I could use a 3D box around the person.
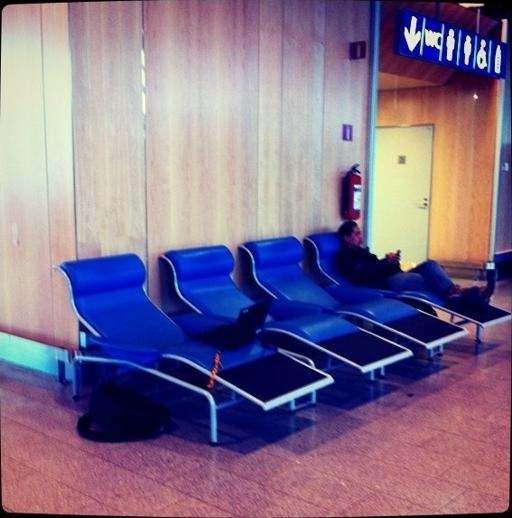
[{"bbox_3d":[1.548,0.047,5.374,1.605,0.985,0.708,0,1,36],"label":"person"}]

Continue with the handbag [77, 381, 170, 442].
[{"bbox_3d":[-0.816,0.942,3.217,0.548,0.226,0.334,3,7,19],"label":"handbag"}]

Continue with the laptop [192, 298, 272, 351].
[{"bbox_3d":[-0.062,0.518,3.673,0.520,0.345,0.508,-21,-10,9],"label":"laptop"}]

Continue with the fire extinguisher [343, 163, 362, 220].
[{"bbox_3d":[1.129,-0.769,6.150,0.247,0.631,0.226,-1,7,-9],"label":"fire extinguisher"}]
